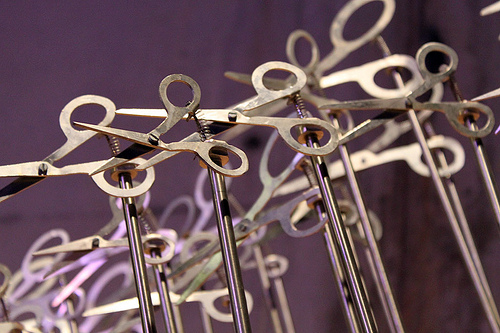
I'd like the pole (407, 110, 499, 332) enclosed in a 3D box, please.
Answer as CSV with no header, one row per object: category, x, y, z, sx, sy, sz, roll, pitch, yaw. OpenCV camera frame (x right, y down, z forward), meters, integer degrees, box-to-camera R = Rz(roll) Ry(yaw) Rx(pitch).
pole,0.468,0.126,2.047,0.058,0.559,0.015,-12,-11,-12

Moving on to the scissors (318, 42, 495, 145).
scissors,0.304,-0.136,1.856,0.340,0.250,0.016,21,-19,3

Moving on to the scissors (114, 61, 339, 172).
scissors,0.002,-0.102,1.778,0.371,0.027,0.225,-2,-44,36

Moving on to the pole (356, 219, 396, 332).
pole,0.281,0.244,1.999,0.031,0.318,0.023,-16,-2,-2

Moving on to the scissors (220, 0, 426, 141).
scissors,0.249,-0.213,2.091,0.592,0.251,0.059,-21,-22,8

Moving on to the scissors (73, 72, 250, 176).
scissors,-0.148,-0.019,1.851,0.295,0.266,0.042,-20,-18,-5

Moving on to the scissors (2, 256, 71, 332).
scissors,-0.507,0.298,2.157,0.182,0.168,0.005,0,-16,32

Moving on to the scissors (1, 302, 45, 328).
scissors,-0.486,0.314,1.936,0.080,0.112,0.014,3,-70,1

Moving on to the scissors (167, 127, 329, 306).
scissors,0.036,0.096,1.883,0.399,0.229,0.029,-43,-39,22

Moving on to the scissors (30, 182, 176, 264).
scissors,-0.286,0.117,1.821,0.236,0.168,0.018,-15,-40,3

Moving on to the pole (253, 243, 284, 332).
pole,0.046,0.308,2.247,0.018,0.261,0.018,-15,-10,-2

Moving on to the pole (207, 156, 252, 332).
pole,-0.045,0.158,1.738,0.056,0.425,0.022,-6,-10,-15

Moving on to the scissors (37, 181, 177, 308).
scissors,-0.266,0.184,1.942,0.327,0.222,0.029,-36,-26,-3

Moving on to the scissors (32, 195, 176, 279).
scissors,-0.254,0.106,1.843,0.191,0.020,0.247,-13,-51,-21
